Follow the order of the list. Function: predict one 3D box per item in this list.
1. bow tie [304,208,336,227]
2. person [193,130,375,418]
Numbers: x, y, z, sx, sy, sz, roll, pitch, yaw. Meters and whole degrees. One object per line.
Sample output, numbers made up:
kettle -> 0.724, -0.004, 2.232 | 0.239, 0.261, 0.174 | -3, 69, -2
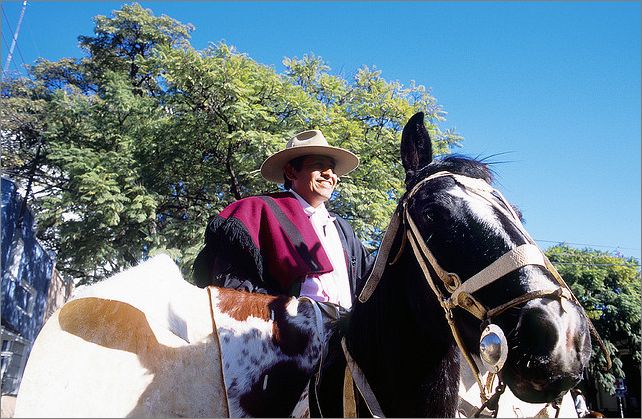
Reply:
bow tie -> -0.011, 0.054, 3.396 | 0.159, 0.063, 0.162 | 34, 21, 37
person -> -0.151, 0.203, 3.441 | 1.542, 1.559, 0.816 | 21, -34, -35
